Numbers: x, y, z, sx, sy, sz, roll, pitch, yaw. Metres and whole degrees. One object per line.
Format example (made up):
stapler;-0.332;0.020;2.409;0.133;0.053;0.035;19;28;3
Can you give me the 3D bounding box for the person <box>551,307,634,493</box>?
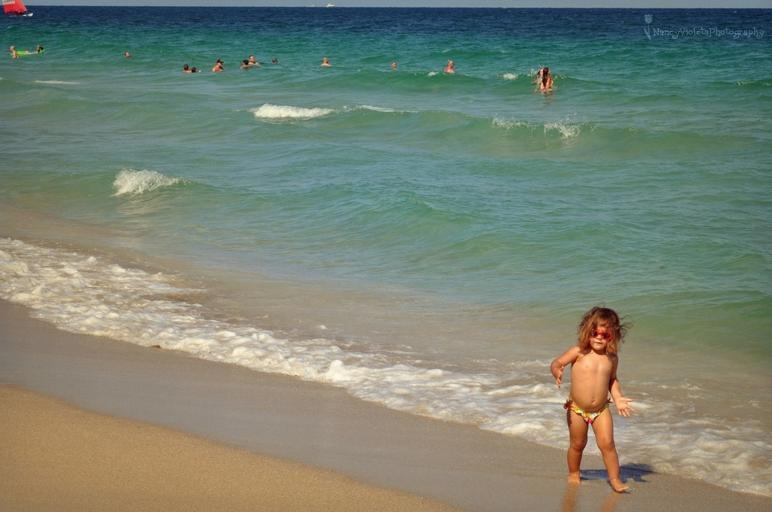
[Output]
person;2.909;1.983;12.027;1.019;2.541;0.879;16;26;39
